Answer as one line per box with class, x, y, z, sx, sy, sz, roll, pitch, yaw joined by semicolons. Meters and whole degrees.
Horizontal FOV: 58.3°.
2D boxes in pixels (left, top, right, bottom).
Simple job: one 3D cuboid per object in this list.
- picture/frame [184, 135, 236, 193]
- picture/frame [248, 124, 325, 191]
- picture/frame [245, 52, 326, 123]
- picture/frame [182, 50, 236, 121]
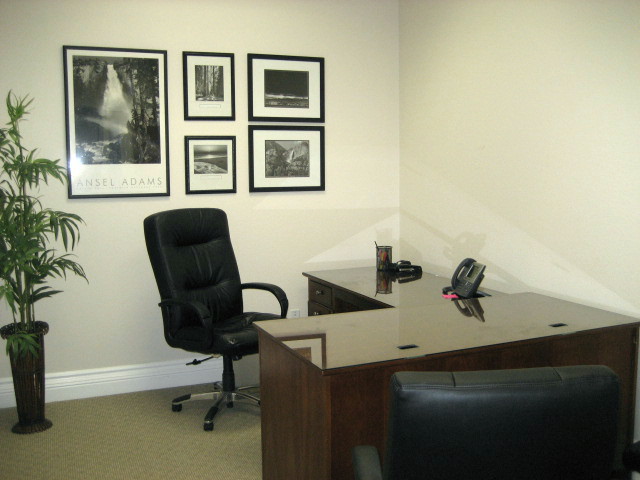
picture/frame;-0.844;-0.583;4.278;0.400;0.465;0.033;-2;6;-12
picture/frame;-0.294;-0.657;4.451;0.490;0.435;0.037;-3;6;-16
picture/frame;-0.301;-1.195;4.403;0.529;0.472;0.039;-2;7;-12
picture/frame;-0.846;-1.162;4.240;0.483;0.658;0.061;-2;6;-15
